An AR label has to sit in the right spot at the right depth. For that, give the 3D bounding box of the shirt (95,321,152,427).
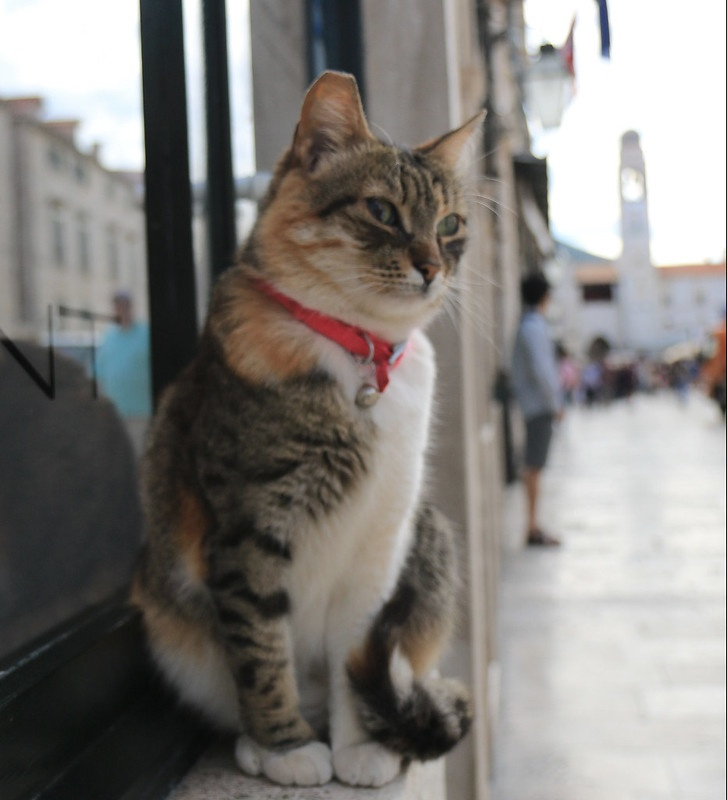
[{"bbox_3d":[-0.389,-0.052,1.874,0.090,0.210,0.021,-2,41,-13],"label":"shirt"}]

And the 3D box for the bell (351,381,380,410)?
[{"bbox_3d":[0.000,-0.011,1.736,0.016,0.037,0.033,12,-23,32],"label":"bell"}]

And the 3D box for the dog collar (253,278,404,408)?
[{"bbox_3d":[-0.057,-0.073,1.783,0.194,0.122,0.157,36,-6,-13],"label":"dog collar"}]

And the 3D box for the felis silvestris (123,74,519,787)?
[{"bbox_3d":[-0.134,0.016,1.908,0.492,1.140,0.478,-4,15,-40],"label":"felis silvestris"}]

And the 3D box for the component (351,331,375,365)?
[{"bbox_3d":[-0.005,-0.080,1.737,0.036,0.053,0.010,-1,5,36],"label":"component"}]

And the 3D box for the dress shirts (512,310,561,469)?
[{"bbox_3d":[0.329,-0.034,2.240,0.062,0.264,0.105,-11,40,-4],"label":"dress shirts"}]
